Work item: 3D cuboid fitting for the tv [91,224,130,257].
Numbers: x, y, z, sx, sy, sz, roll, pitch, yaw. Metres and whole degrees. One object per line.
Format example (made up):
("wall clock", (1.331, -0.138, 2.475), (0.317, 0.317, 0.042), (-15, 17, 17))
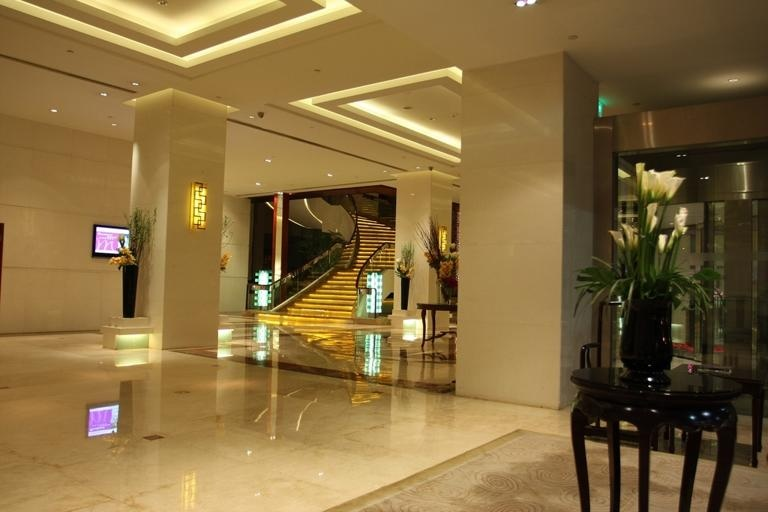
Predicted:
("tv", (-6.483, -0.352, 12.136), (0.083, 0.680, 0.818), (0, -1, 33))

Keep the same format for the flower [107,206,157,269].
("flower", (-4.785, -0.362, 9.844), (0.642, 1.154, 0.568), (0, -3, 42))

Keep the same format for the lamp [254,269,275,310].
("lamp", (-4.523, 1.231, 19.212), (0.682, 1.363, 1.858), (2, -2, -13))

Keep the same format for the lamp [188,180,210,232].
("lamp", (-3.630, -0.966, 10.095), (0.101, 0.903, 0.381), (0, -3, 41))

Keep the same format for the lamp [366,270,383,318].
("lamp", (-0.351, 1.213, 16.807), (0.653, 1.384, 0.255), (0, -3, 41))

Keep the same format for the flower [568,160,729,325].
("flower", (1.927, -0.004, 3.800), (0.996, 1.268, 0.882), (9, -1, -36))

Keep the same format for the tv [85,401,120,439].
("tv", (-3.011, 1.768, 5.549), (0.491, 0.345, 0.039), (-12, -16, 20))

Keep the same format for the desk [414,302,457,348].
("desk", (1.313, 1.606, 11.952), (1.179, 0.961, 1.283), (6, -4, 5))

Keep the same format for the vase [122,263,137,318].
("vase", (-4.809, 0.647, 9.712), (0.238, 0.999, 0.245), (3, -2, -31))

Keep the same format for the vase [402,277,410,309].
("vase", (0.625, 1.132, 15.575), (0.258, 0.930, 0.137), (1, -2, 1))

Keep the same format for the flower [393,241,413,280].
("flower", (0.574, 0.135, 15.679), (0.606, 1.073, 0.250), (0, -2, 30))
